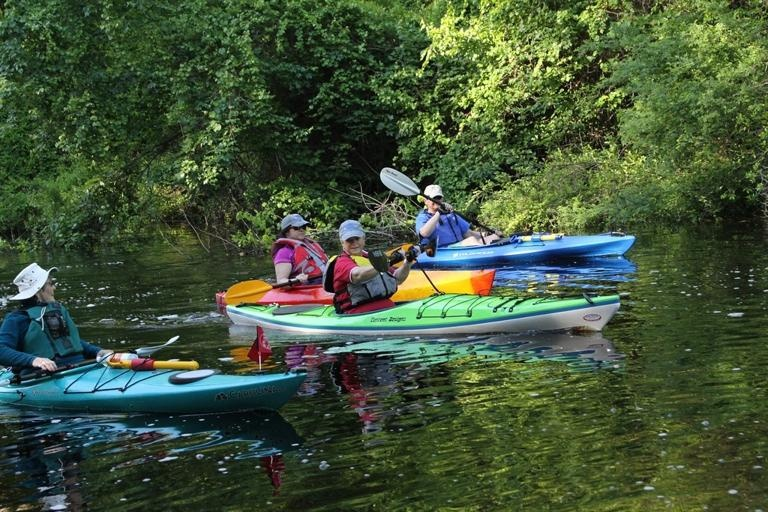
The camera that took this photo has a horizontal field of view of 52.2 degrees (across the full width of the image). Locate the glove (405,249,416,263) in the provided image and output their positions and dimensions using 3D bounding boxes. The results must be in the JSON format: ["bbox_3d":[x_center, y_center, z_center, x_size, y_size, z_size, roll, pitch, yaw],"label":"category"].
[{"bbox_3d":[0.327,-0.014,9.470,0.128,0.204,0.253,-6,7,2],"label":"glove"}]

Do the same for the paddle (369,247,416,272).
[{"bbox_3d":[0.075,0.035,9.548,0.593,0.323,0.537,-5,7,-11],"label":"paddle"}]

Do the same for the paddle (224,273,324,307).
[{"bbox_3d":[-1.794,0.497,11.421,1.677,0.260,0.392,-6,-6,11],"label":"paddle"}]

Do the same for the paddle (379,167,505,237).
[{"bbox_3d":[1.002,-0.830,13.020,0.248,0.425,3.285,-30,-35,34],"label":"paddle"}]

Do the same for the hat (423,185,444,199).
[{"bbox_3d":[0.805,-1.087,13.063,0.349,0.162,0.402,1,3,-13],"label":"hat"}]

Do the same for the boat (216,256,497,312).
[{"bbox_3d":[-0.390,0.480,11.397,4.891,0.533,1.110,-2,1,4],"label":"boat"}]

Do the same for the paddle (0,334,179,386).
[{"bbox_3d":[-3.250,1.162,8.567,2.850,0.252,0.213,-8,-24,-5],"label":"paddle"}]

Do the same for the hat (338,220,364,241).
[{"bbox_3d":[-0.414,-0.324,9.827,0.275,0.264,0.239,-6,8,-6],"label":"hat"}]
